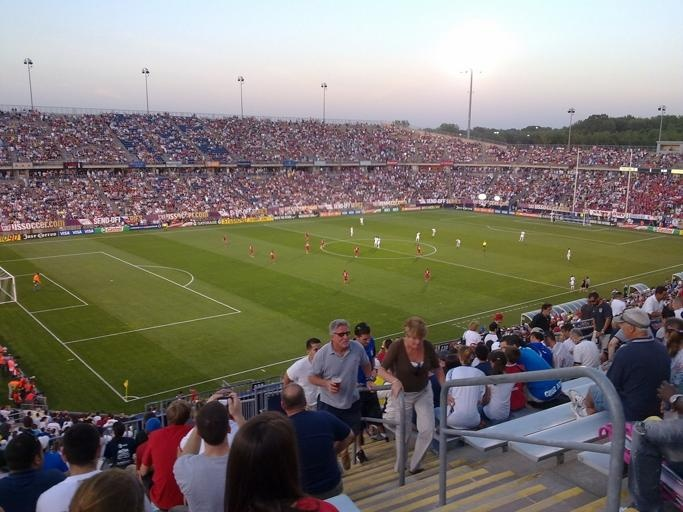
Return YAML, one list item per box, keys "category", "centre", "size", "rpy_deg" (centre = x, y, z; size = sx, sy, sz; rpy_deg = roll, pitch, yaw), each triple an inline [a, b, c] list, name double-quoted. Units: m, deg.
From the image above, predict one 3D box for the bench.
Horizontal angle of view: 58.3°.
- category: "bench"
  centre: [2.396, 2.495, 9.598]
  size: [2.100, 2.442, 2.622]
  rpy_deg: [-9, 12, -30]

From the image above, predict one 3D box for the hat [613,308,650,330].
- category: "hat"
  centre: [4.268, 0.925, 9.085]
  size: [0.312, 0.193, 0.406]
  rpy_deg: [7, 9, -2]

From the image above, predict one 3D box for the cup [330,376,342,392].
- category: "cup"
  centre: [-0.105, 2.024, 9.805]
  size: [0.184, 0.172, 0.177]
  rpy_deg: [0, 8, 0]

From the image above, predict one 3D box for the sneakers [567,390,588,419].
- category: "sneakers"
  centre: [3.966, 2.490, 10.352]
  size: [0.172, 0.202, 0.495]
  rpy_deg: [-3, 6, 5]
